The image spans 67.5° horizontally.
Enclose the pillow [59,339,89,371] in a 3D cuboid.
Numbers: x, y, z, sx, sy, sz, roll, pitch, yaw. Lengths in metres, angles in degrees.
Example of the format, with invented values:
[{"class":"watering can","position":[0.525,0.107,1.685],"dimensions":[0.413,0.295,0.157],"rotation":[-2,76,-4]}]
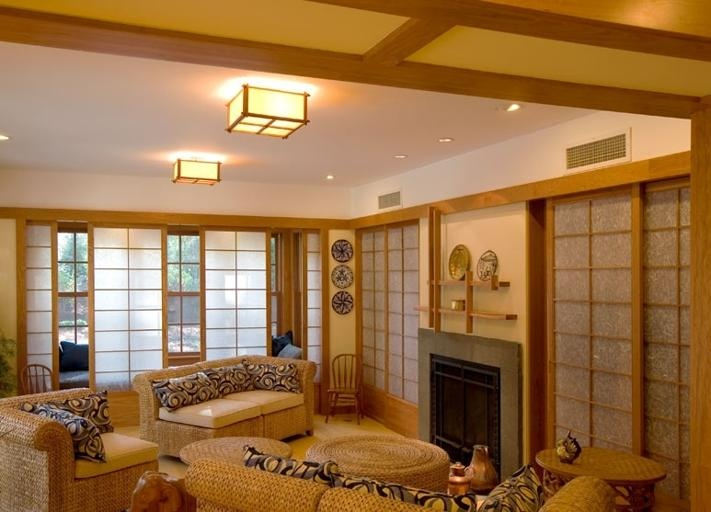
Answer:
[{"class":"pillow","position":[-4.073,1.472,7.709],"dimensions":[0.561,0.437,0.211],"rotation":[1,-38,-16]}]

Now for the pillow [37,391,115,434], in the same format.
[{"class":"pillow","position":[-2.282,1.288,4.328],"dimensions":[0.140,0.283,0.417],"rotation":[-34,-24,31]}]

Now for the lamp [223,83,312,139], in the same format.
[{"class":"lamp","position":[-0.642,-1.072,3.964],"dimensions":[0.583,0.299,0.477],"rotation":[1,-5,-22]}]

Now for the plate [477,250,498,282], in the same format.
[{"class":"plate","position":[1.328,0.100,5.373],"dimensions":[0.066,0.304,0.322],"rotation":[0,-5,-18]}]

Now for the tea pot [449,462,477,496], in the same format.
[{"class":"tea pot","position":[0.783,1.668,3.930],"dimensions":[0.217,0.229,0.174],"rotation":[-5,-1,-1]}]

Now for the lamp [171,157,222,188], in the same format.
[{"class":"lamp","position":[-1.756,-0.967,5.921],"dimensions":[0.473,0.269,0.301],"rotation":[0,-5,-14]}]

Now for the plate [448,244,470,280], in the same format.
[{"class":"plate","position":[1.121,0.078,5.699],"dimensions":[0.058,0.346,0.386],"rotation":[4,-4,-14]}]

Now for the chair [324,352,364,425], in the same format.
[{"class":"chair","position":[-0.136,1.891,7.554],"dimensions":[0.619,0.892,0.624],"rotation":[4,-6,-24]}]

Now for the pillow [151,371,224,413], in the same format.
[{"class":"pillow","position":[-1.862,1.521,5.939],"dimensions":[0.732,0.345,0.297],"rotation":[4,-7,-43]}]

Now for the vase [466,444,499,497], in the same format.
[{"class":"vase","position":[1.039,1.766,4.368],"dimensions":[0.261,0.360,0.273],"rotation":[1,-6,-38]}]

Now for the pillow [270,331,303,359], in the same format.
[{"class":"pillow","position":[-1.007,1.360,7.905],"dimensions":[0.105,0.356,0.357],"rotation":[-29,-8,36]}]

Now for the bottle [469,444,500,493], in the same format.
[{"class":"bottle","position":[1.014,1.764,4.355],"dimensions":[0.262,0.360,0.267],"rotation":[8,-4,1]}]
